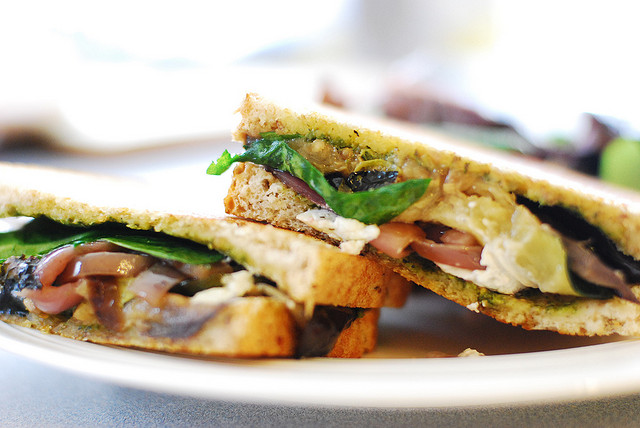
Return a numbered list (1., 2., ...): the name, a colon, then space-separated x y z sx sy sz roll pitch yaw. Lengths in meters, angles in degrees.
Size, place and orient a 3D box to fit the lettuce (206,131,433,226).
1. lettuce: -0.102 -0.192 2.587 0.523 0.139 0.372 4 -16 -34
